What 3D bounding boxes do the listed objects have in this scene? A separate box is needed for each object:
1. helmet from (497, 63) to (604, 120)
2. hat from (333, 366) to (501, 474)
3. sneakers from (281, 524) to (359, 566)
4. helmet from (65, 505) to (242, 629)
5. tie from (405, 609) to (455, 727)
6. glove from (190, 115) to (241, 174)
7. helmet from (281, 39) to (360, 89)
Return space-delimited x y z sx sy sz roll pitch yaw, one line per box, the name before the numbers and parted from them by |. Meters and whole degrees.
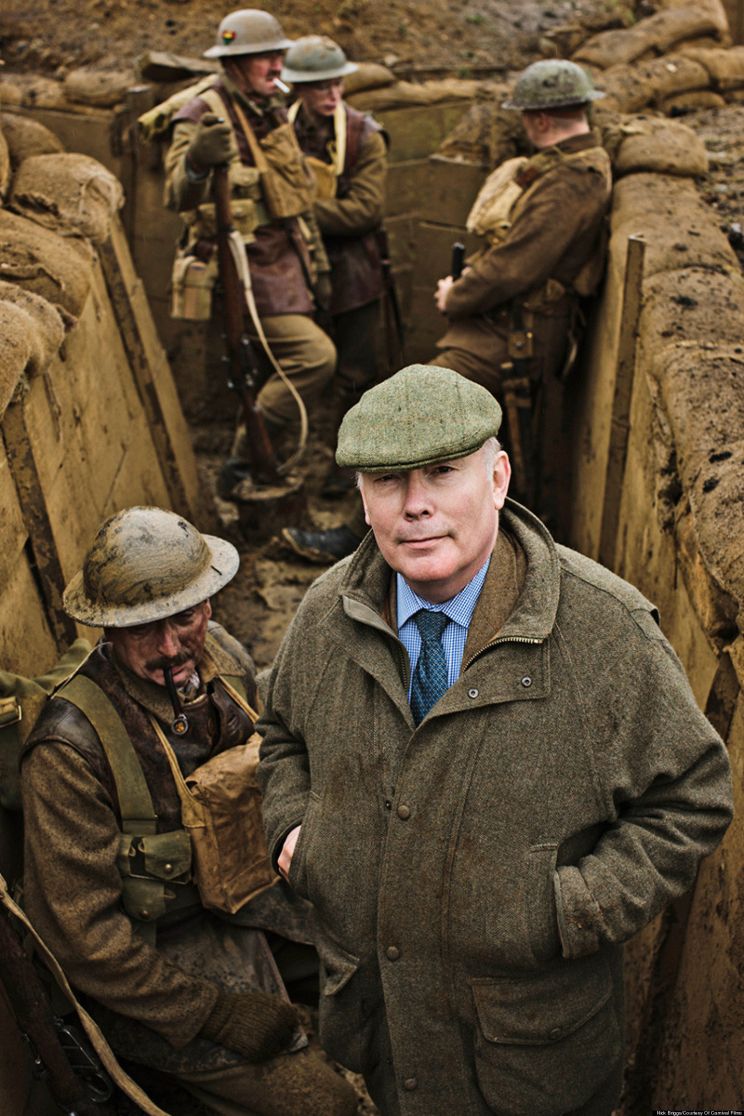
helmet | 0.777 -2.120 5.102 0.345 0.133 0.294 7 23 33
hat | 0.080 -0.242 1.972 0.287 0.177 0.205 -4 16 3
sneakers | -0.282 -0.083 6.138 0.500 0.217 0.177 7 23 -15
helmet | -0.551 0.038 2.852 0.360 0.158 0.343 -14 25 4
tie | 0.097 0.205 2.111 0.069 0.213 0.046 2 -25 8
glove | -0.680 -1.783 4.789 0.119 0.189 0.185 36 40 -5
helmet | -0.231 -2.217 5.025 0.269 0.117 0.254 -9 27 14
